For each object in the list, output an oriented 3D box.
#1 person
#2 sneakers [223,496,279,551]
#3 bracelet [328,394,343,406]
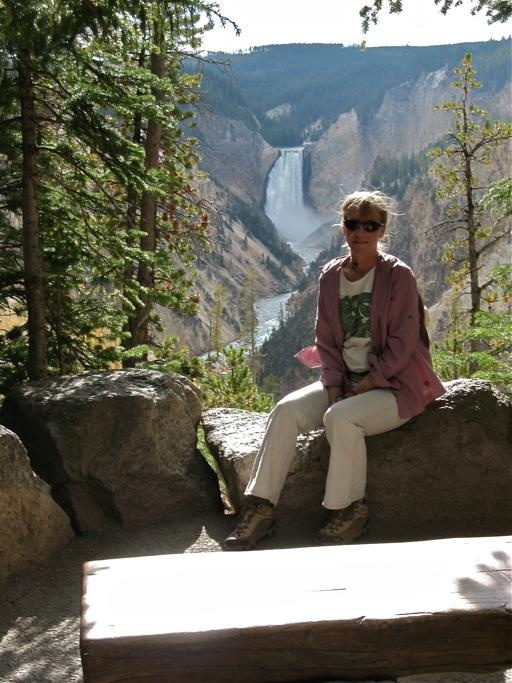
[{"bbox_3d":[0.437,0.138,4.307,1.302,1.979,0.595,-15,9,-26],"label":"person"},{"bbox_3d":[-0.024,1.042,4.152,0.171,0.196,0.464,4,5,25],"label":"sneakers"},{"bbox_3d":[0.467,0.357,4.335,0.048,0.062,0.077,-7,9,-44],"label":"bracelet"}]
